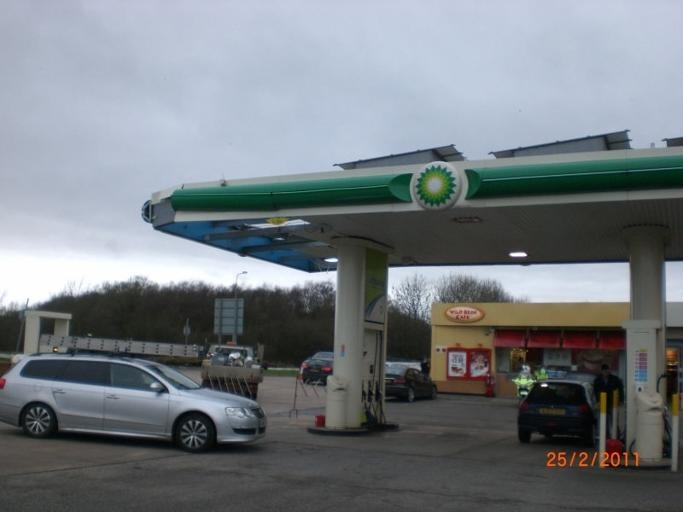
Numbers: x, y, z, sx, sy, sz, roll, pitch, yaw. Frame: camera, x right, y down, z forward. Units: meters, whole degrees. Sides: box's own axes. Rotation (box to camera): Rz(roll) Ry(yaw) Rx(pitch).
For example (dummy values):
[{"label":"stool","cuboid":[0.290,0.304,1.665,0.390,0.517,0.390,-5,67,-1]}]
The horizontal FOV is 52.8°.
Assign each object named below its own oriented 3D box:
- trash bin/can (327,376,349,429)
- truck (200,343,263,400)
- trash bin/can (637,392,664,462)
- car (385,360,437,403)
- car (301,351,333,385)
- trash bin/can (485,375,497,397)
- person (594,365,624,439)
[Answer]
[{"label":"trash bin/can","cuboid":[-0.115,3.602,17.121,0.517,1.261,0.323,2,-8,-5]},{"label":"truck","cuboid":[-3.837,4.183,25.210,1.557,1.417,2.721,2,-2,13]},{"label":"trash bin/can","cuboid":[6.075,3.345,13.597,0.482,1.381,0.373,-2,-9,21]},{"label":"car","cuboid":[2.927,5.389,30.191,1.424,1.218,3.540,-2,-6,30]},{"label":"car","cuboid":[-1.265,5.629,34.887,1.507,1.694,2.431,2,-9,-5]},{"label":"trash bin/can","cuboid":[7.370,6.370,34.134,0.486,1.121,1.241,-1,-9,12]},{"label":"person","cuboid":[6.327,3.421,16.248,0.654,1.921,0.540,-3,21,29]}]
